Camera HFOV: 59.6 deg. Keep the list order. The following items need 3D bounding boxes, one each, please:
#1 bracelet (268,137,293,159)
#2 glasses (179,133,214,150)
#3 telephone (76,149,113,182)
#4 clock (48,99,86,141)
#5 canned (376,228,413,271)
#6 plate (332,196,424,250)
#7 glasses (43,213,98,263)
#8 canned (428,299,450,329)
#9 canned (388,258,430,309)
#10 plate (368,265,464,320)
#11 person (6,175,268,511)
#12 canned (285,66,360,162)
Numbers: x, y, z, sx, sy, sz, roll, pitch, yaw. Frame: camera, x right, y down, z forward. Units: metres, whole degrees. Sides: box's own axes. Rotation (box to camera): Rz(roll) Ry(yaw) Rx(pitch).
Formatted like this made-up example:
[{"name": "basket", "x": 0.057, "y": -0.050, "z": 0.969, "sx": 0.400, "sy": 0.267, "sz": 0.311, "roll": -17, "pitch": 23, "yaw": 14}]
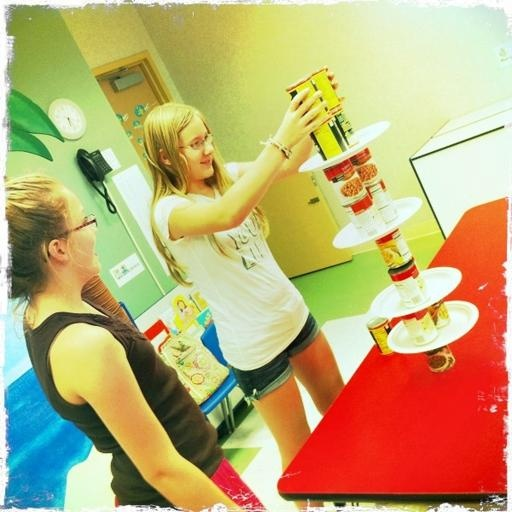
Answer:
[{"name": "bracelet", "x": 0.064, "y": -0.271, "z": 1.157, "sx": 0.018, "sy": 0.045, "sz": 0.052, "roll": -53, "pitch": -38, "yaw": 5}, {"name": "glasses", "x": -0.185, "y": -0.364, "z": 1.461, "sx": 0.076, "sy": 0.022, "sz": 0.075, "roll": 5, "pitch": 24, "yaw": 28}, {"name": "telephone", "x": -0.974, "y": -0.539, "z": 2.702, "sx": 0.142, "sy": 0.200, "sz": 0.072, "roll": -44, "pitch": 3, "yaw": 10}, {"name": "clock", "x": -1.084, "y": -0.784, "z": 2.595, "sx": 0.204, "sy": 0.213, "sz": 0.217, "roll": -5, "pitch": 4, "yaw": 24}, {"name": "canned", "x": 0.305, "y": -0.027, "z": 1.002, "sx": 0.056, "sy": 0.097, "sz": 0.058, "roll": -21, "pitch": 27, "yaw": 22}, {"name": "plate", "x": 0.278, "y": -0.051, "z": 1.052, "sx": 0.164, "sy": 0.022, "sz": 0.159, "roll": -34, "pitch": 10, "yaw": -19}, {"name": "glasses", "x": -0.440, "y": -0.035, "z": 1.079, "sx": 0.100, "sy": 0.029, "sz": 0.100, "roll": -25, "pitch": 8, "yaw": 4}, {"name": "canned", "x": 0.410, "y": 0.134, "z": 1.003, "sx": 0.040, "sy": 0.065, "sz": 0.042, "roll": -12, "pitch": 17, "yaw": 42}, {"name": "canned", "x": 0.343, "y": 0.068, "z": 1.004, "sx": 0.073, "sy": 0.111, "sz": 0.074, "roll": -28, "pitch": 3, "yaw": -38}, {"name": "plate", "x": 0.343, "y": 0.082, "z": 1.045, "sx": 0.250, "sy": 0.025, "sz": 0.240, "roll": -7, "pitch": 18, "yaw": -38}, {"name": "person", "x": -0.302, "y": 0.310, "z": 1.098, "sx": 0.252, "sy": 1.020, "sz": 0.323, "roll": -26, "pitch": 10, "yaw": 32}, {"name": "canned", "x": 0.159, "y": -0.313, "z": 1.037, "sx": 0.144, "sy": 0.210, "sz": 0.059, "roll": -26, "pitch": -6, "yaw": 16}]
